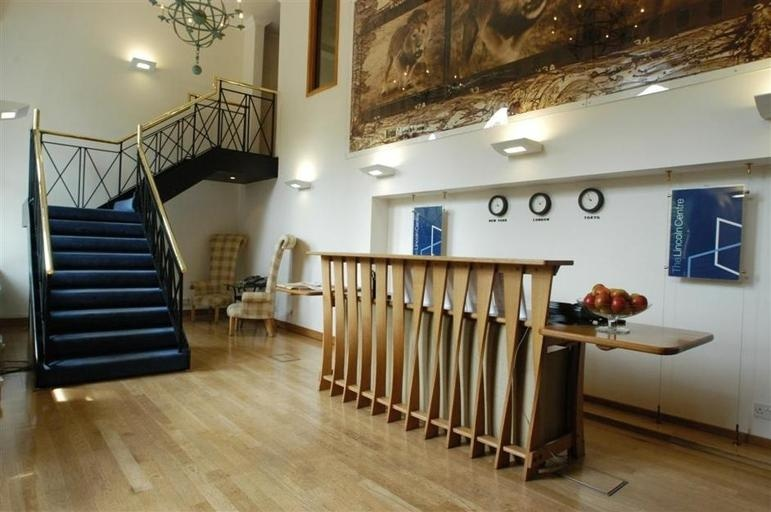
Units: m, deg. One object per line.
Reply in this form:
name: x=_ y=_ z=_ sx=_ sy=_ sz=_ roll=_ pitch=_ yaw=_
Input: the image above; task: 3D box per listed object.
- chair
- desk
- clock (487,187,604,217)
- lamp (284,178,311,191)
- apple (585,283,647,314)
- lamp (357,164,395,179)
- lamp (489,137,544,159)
chair: x=-2.795 y=0.582 z=10.476 sx=1.810 sy=1.373 sz=0.852 roll=3 pitch=-3 yaw=38
desk: x=0.909 y=1.041 z=5.813 sx=3.694 sy=2.087 sz=0.897 roll=4 pitch=3 yaw=38
clock: x=2.072 y=-0.687 z=7.097 sx=1.516 sy=0.380 sz=0.111 roll=3 pitch=3 yaw=38
lamp: x=-1.669 y=-1.308 z=10.022 sx=0.380 sy=0.192 sz=0.617 roll=0 pitch=3 yaw=-37
apple: x=2.091 y=0.417 z=4.953 sx=0.341 sy=0.160 sz=0.342 roll=2 pitch=-2 yaw=14
lamp: x=-0.153 y=-1.306 z=8.458 sx=0.367 sy=0.168 sz=0.609 roll=0 pitch=3 yaw=-44
lamp: x=1.668 y=-1.360 z=6.837 sx=0.477 sy=0.172 sz=0.485 roll=4 pitch=3 yaw=41
